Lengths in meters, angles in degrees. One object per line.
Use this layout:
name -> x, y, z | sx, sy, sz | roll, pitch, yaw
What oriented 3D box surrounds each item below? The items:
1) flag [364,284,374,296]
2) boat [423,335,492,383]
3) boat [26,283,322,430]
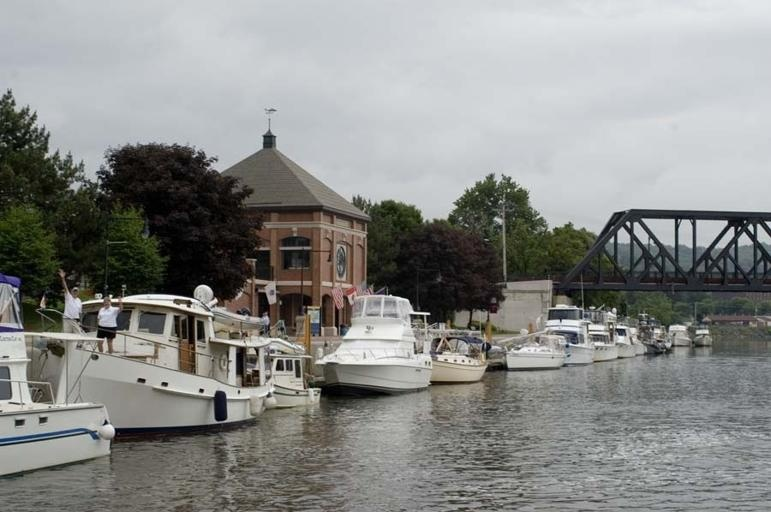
flag -> -1.134, 2.541, 81.187 | 0.901, 0.866, 0.052 | 3, -8, -28
boat -> 4.549, 6.528, 72.201 | 3.253, 3.435, 8.709 | 0, -8, 3
boat -> -8.676, 4.967, 50.409 | 4.270, 4.069, 10.938 | -6, -14, 25
